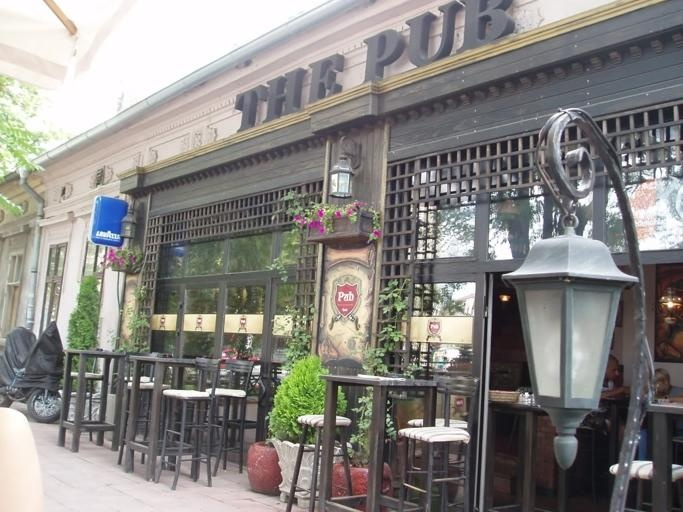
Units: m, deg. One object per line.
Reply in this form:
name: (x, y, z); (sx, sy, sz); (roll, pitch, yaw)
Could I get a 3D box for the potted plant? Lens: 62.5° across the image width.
potted plant: (0.036, 1.927, 6.455); (1.491, 1.721, 1.293); (4, -10, -8)

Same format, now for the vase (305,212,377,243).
vase: (0.016, -0.329, 6.793); (0.820, 0.333, 0.287); (-5, -12, 42)

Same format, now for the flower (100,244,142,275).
flower: (-4.100, 0.075, 10.696); (0.790, 0.481, 0.294); (0, -9, 17)

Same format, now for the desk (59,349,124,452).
desk: (-3.508, 2.016, 7.899); (0.757, 1.259, 0.668); (12, -15, -42)

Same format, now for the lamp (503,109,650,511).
lamp: (0.999, 0.175, 2.330); (0.653, 1.730, 0.373); (9, -11, -36)

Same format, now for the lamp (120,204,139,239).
lamp: (-4.144, -0.702, 10.957); (0.271, 0.706, 0.313); (4, -9, -5)

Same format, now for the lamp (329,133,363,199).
lamp: (0.065, -1.096, 6.836); (0.339, 0.854, 0.506); (2, -9, 5)
